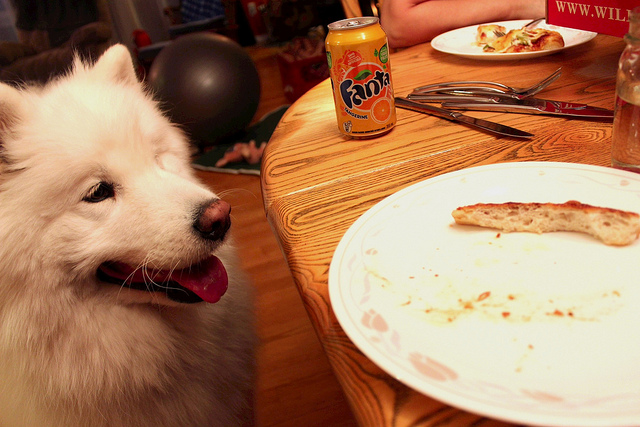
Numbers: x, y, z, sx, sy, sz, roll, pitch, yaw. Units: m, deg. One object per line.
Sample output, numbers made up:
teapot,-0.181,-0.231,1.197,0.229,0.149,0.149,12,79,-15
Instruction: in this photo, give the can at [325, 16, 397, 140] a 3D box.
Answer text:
can,0.102,-0.340,1.312,0.155,0.274,0.153,-9,29,5

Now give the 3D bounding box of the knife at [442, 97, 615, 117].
knife,0.524,-0.264,1.285,0.368,0.027,0.056,10,46,31

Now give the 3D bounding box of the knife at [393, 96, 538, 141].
knife,0.369,-0.235,1.296,0.328,0.015,0.042,29,86,43
